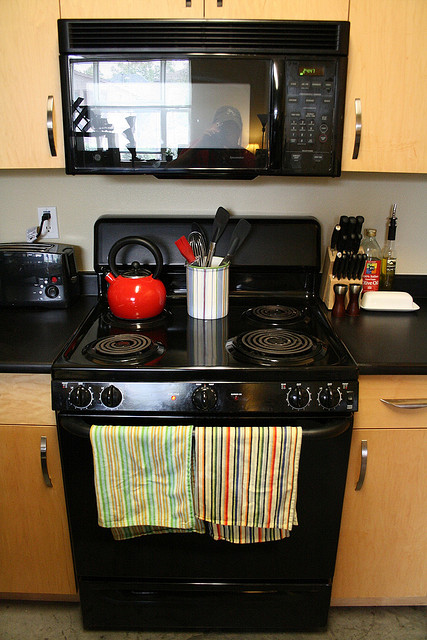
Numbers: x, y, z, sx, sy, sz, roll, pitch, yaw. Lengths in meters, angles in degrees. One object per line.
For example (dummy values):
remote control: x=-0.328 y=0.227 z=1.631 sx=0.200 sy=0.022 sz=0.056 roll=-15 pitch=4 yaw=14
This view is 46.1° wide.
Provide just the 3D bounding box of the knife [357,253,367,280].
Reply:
knife: x=0.469 y=-0.169 z=1.613 sx=0.019 sy=0.088 sz=0.019 roll=19 pitch=37 yaw=20

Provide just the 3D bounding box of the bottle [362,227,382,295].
bottle: x=0.525 y=-0.205 z=1.676 sx=0.068 sy=0.203 sz=0.160 roll=7 pitch=22 yaw=17

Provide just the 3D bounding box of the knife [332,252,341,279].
knife: x=0.388 y=-0.175 z=1.606 sx=0.018 sy=0.078 sz=0.015 roll=3 pitch=15 yaw=-22

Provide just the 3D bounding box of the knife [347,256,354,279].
knife: x=0.435 y=-0.169 z=1.611 sx=0.014 sy=0.066 sz=0.016 roll=5 pitch=34 yaw=5

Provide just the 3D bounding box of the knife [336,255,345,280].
knife: x=0.405 y=-0.170 z=1.609 sx=0.013 sy=0.063 sz=0.016 roll=6 pitch=28 yaw=-2

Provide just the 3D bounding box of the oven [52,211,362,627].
oven: x=-0.022 y=0.289 z=1.528 sx=0.764 sy=1.103 sz=0.773 roll=2 pitch=23 yaw=5

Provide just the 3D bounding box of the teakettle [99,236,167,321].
teakettle: x=-0.250 y=-0.139 z=1.549 sx=0.194 sy=0.245 sz=0.176 roll=5 pitch=14 yaw=10

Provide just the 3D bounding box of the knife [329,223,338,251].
knife: x=0.392 y=-0.267 z=1.651 sx=0.019 sy=0.101 sz=0.012 roll=31 pitch=42 yaw=35

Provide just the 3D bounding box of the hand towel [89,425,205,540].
hand towel: x=-0.167 y=0.374 z=1.187 sx=0.234 sy=0.278 sz=0.026 roll=2 pitch=20 yaw=4

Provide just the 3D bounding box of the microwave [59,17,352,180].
microwave: x=-0.027 y=-0.613 z=1.483 sx=0.753 sy=0.417 sz=0.370 roll=-2 pitch=14 yaw=-4

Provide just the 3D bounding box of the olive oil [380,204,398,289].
olive oil: x=0.602 y=-0.246 z=1.724 sx=0.056 sy=0.309 sz=0.066 roll=13 pitch=18 yaw=33
